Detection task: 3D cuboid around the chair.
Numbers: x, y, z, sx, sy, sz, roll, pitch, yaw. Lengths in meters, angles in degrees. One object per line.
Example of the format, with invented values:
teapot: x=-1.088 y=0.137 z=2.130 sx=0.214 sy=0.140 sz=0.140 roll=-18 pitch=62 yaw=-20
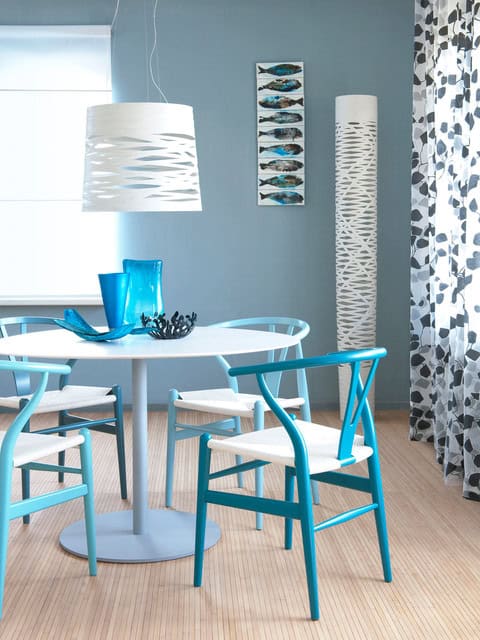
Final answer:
chair: x=-0.138 y=0.398 z=1.708 sx=1.089 sy=0.705 sz=0.799 roll=1 pitch=2 yaw=31
